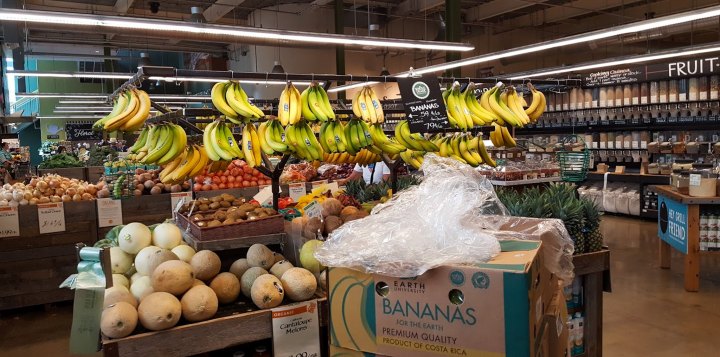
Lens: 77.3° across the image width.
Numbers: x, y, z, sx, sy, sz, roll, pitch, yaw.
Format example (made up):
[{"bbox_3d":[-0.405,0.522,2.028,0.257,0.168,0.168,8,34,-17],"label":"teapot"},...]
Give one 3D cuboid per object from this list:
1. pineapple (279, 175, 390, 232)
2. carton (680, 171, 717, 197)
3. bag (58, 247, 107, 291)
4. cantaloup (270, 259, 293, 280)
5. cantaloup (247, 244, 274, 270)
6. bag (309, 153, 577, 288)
[{"bbox_3d":[-0.360,0.427,6.667,1.161,0.454,0.850,-11,8,-35],"label":"pineapple"},{"bbox_3d":[6.255,0.072,8.259,0.511,0.451,0.476,0,3,0],"label":"carton"},{"bbox_3d":[-3.164,1.056,5.255,0.457,0.271,0.565,2,2,7],"label":"bag"},{"bbox_3d":[-1.069,1.193,5.996,0.242,0.223,0.280,-8,24,-18],"label":"cantaloup"},{"bbox_3d":[-1.346,1.031,6.085,0.279,0.270,0.360,26,-4,-22],"label":"cantaloup"},{"bbox_3d":[1.149,0.552,5.449,2.353,1.150,1.768,2,2,17],"label":"bag"}]
